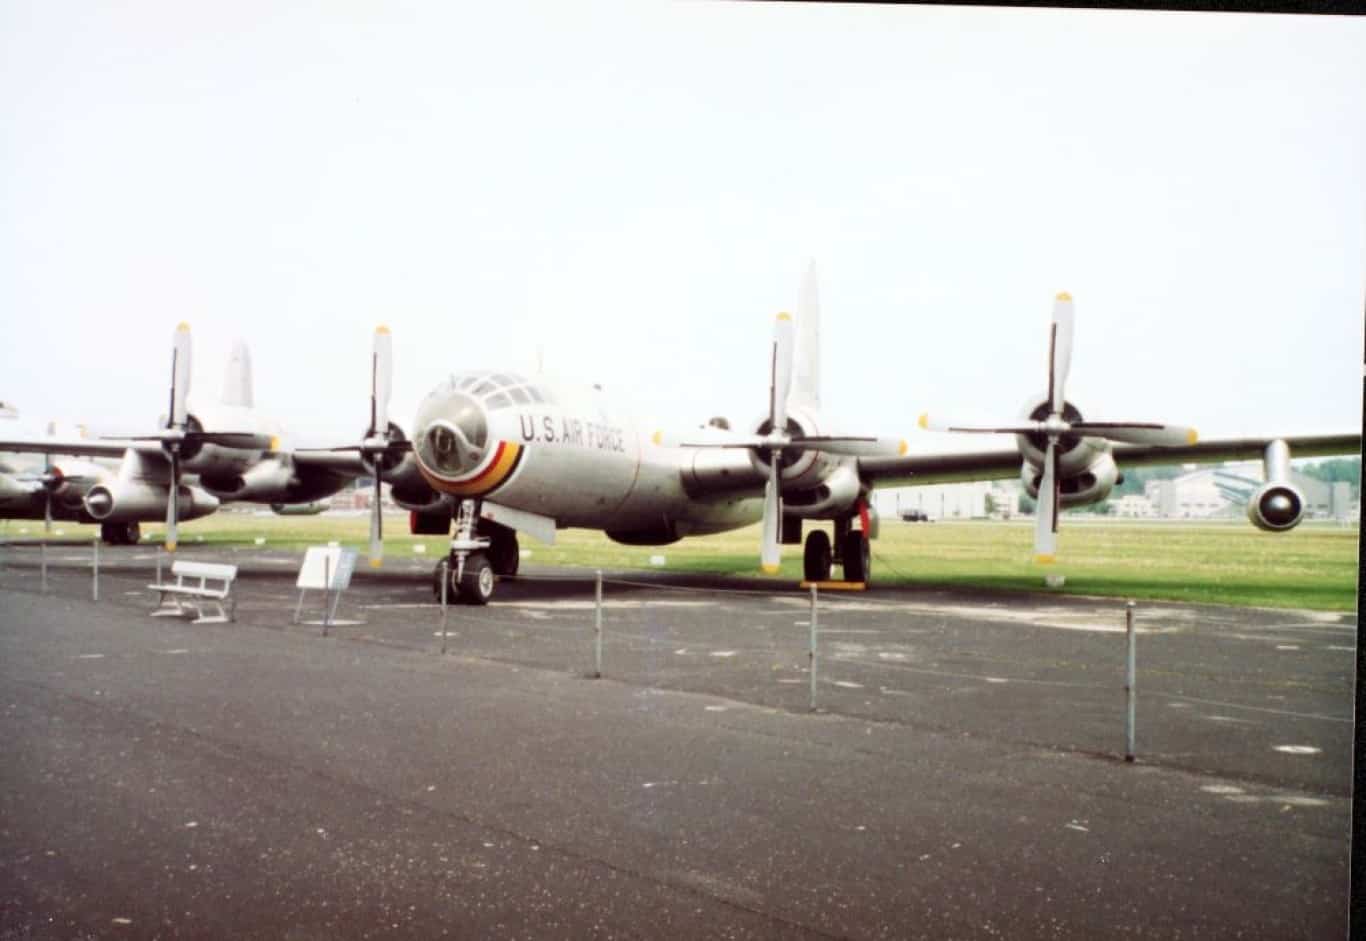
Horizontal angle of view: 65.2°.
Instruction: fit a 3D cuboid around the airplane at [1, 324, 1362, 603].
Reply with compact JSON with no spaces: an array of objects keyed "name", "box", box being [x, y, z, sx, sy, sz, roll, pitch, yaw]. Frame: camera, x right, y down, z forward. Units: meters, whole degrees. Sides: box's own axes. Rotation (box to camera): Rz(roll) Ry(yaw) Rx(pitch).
[{"name":"airplane","box":[0.280,-0.265,24.581,26.880,6.488,10.782,1,8,5]}]
